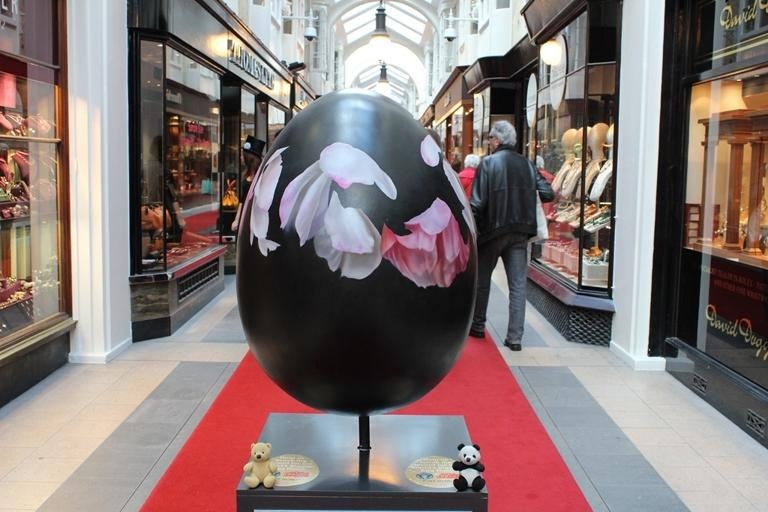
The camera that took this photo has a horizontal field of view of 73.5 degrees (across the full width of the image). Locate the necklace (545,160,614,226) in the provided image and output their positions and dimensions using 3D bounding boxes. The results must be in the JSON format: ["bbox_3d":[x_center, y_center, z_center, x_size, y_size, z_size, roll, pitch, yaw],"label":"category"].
[{"bbox_3d":[2.179,-0.678,5.581,0.199,0.631,0.454,1,21,-18],"label":"necklace"}]

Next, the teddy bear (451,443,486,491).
[{"bbox_3d":[0.326,0.816,2.037,0.144,0.218,0.150,0,-11,7],"label":"teddy bear"}]

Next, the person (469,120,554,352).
[{"bbox_3d":[1.164,-0.186,5.065,1.058,2.235,0.505,-10,13,-36],"label":"person"}]

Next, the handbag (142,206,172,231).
[{"bbox_3d":[-2.424,-0.402,5.425,0.185,0.320,0.464,-9,3,1],"label":"handbag"}]

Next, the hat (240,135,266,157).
[{"bbox_3d":[-1.989,-1.660,7.827,0.334,0.241,0.418,17,11,-11],"label":"hat"}]

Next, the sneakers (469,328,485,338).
[{"bbox_3d":[0.847,0.713,4.685,0.137,0.065,0.281,0,12,11],"label":"sneakers"}]

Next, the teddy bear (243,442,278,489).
[{"bbox_3d":[-0.475,0.811,1.965,0.139,0.197,0.143,-1,-1,-2],"label":"teddy bear"}]
